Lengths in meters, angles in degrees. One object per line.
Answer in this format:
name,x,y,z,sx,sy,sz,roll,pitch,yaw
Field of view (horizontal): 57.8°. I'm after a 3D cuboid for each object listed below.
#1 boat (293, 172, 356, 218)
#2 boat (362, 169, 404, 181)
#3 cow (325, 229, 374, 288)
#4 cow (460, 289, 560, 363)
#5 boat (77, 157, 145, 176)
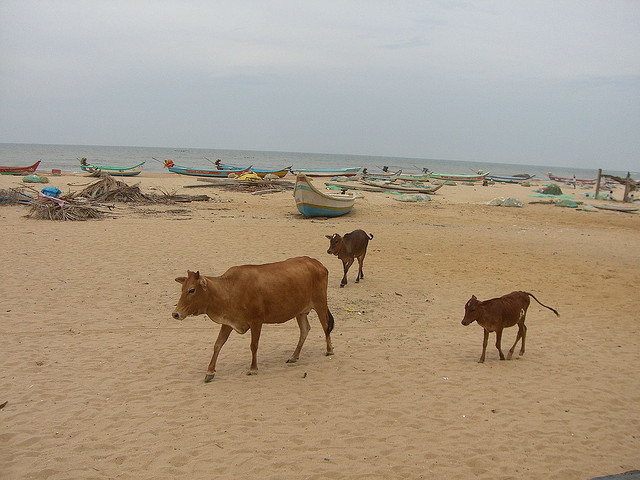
boat,0.134,-1.924,25.739,1.114,1.918,2.869,12,14,41
boat,7.068,-7.571,67.494,2.062,1.091,8.375,2,3,42
cow,0.754,0.477,15.360,0.569,1.442,1.392,7,12,23
cow,3.696,1.667,11.396,2.950,1.211,0.632,0,-1,-37
boat,-19.418,-6.769,54.041,4.815,1.412,7.929,-2,8,-24
